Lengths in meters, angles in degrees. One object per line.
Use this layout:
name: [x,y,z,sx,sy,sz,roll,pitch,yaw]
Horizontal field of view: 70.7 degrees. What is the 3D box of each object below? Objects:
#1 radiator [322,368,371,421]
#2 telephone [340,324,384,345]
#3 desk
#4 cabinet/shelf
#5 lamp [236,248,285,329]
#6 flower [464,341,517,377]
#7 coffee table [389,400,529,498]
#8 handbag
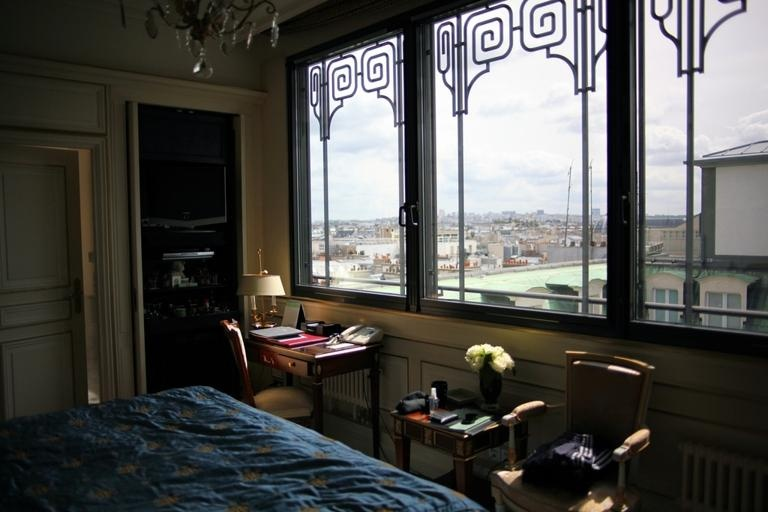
radiator: [-0.316,1.196,4.698,0.071,0.559,0.655,-2,0,-42]
telephone: [-0.183,0.615,4.408,0.189,0.073,0.182,4,4,43]
desk: [-0.681,1.191,4.676,0.684,0.895,1.302,-2,-1,-41]
cabinet/shelf: [-1.836,0.122,5.228,0.968,2.870,0.285,-5,5,-33]
lamp: [-1.124,0.321,4.980,0.425,0.711,0.415,-5,-3,24]
flower: [0.701,0.678,3.584,0.219,0.158,0.261,9,-2,15]
coffee table: [0.509,1.183,3.656,0.676,0.618,0.665,0,0,-43]
handbag: [1.057,1.197,3.056,0.300,0.132,0.388,2,5,26]
